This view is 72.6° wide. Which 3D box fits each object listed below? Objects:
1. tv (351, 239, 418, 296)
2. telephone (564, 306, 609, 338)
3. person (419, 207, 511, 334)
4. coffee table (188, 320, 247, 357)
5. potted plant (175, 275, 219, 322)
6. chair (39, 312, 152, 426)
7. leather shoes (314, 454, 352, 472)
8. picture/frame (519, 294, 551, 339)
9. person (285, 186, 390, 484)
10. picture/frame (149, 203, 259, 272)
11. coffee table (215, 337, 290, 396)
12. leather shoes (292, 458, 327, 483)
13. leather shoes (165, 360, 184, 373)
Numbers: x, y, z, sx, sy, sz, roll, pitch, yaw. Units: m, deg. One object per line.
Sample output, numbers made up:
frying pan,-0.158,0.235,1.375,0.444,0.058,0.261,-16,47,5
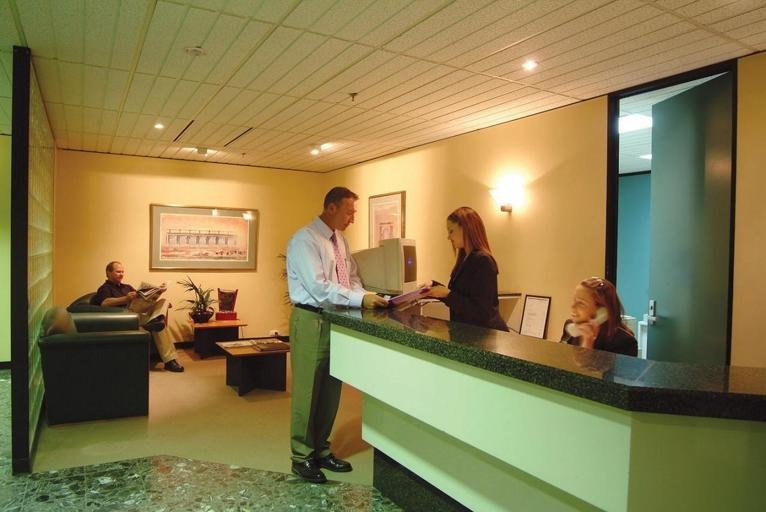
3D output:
tv,0.011,0.092,4.421,0.498,0.420,0.470,0,0,12
telephone,1.394,0.446,3.416,0.212,0.206,0.064,-6,-17,42
person,0.716,0.117,4.239,0.539,1.007,0.514,3,7,16
coffee table,-2.349,1.109,7.237,0.593,0.344,0.579,1,-3,-27
potted plant,-2.657,0.644,7.368,0.659,0.611,0.594,7,7,21
chair,-2.802,0.984,5.075,1.132,0.851,1.142,7,3,36
leather shoes,-0.376,1.565,3.963,0.306,0.117,0.111,2,-1,7
picture/frame,1.531,0.595,5.229,0.154,0.410,0.337,-2,7,-25
person,-0.400,0.573,3.800,0.591,2.153,0.774,0,7,-10
picture/frame,-2.723,-0.267,7.860,1.651,0.965,0.035,1,3,1
coffee table,-1.501,1.270,5.825,0.652,0.375,0.643,0,-1,-25
leather shoes,-0.548,1.574,3.856,0.275,0.122,0.126,2,0,34
leather shoes,-2.624,1.378,6.491,0.330,0.127,0.110,-2,-3,28
